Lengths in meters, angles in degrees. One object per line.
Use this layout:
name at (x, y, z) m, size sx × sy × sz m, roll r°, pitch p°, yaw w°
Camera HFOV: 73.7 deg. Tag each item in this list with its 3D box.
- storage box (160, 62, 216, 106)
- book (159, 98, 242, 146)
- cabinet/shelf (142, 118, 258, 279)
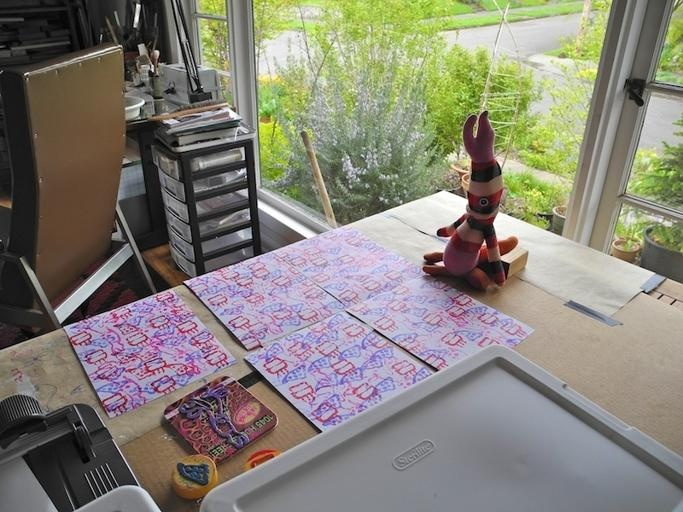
storage box at (-0.783, -0.864, 2.344) m, size 0.254 × 0.158 × 0.140 m, roll 12°, pitch 26°, yaw 13°
book at (-0.582, -0.529, 1.880) m, size 0.328 × 0.115 × 0.172 m, roll -13°, pitch 36°, yaw -22°
cabinet/shelf at (-0.601, -0.255, 1.978) m, size 0.445 × 0.701 × 0.381 m, roll -21°, pitch 47°, yaw -26°
